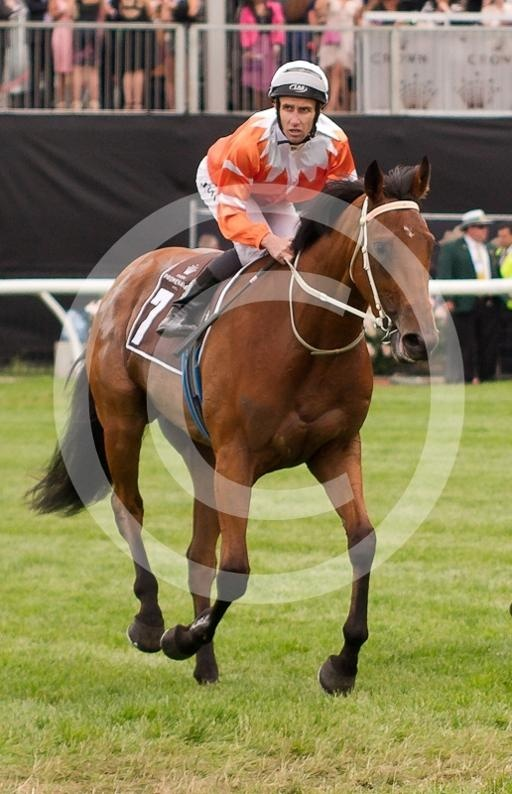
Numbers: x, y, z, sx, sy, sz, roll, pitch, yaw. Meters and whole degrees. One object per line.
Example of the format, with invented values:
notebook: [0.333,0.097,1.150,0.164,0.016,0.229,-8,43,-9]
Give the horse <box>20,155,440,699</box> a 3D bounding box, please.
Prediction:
horse: [-0.047,0.095,3.703,0.554,1.549,1.796,-1,4,-24]

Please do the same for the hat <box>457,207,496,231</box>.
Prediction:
hat: [1.795,-1.460,9.611,0.244,0.166,0.335,2,4,14]

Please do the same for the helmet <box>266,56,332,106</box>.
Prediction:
helmet: [0.126,-0.958,3.534,0.133,0.112,0.162,9,14,2]

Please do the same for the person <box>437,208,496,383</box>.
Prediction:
person: [1.734,-0.827,9.597,0.494,1.429,0.909,2,4,10]
